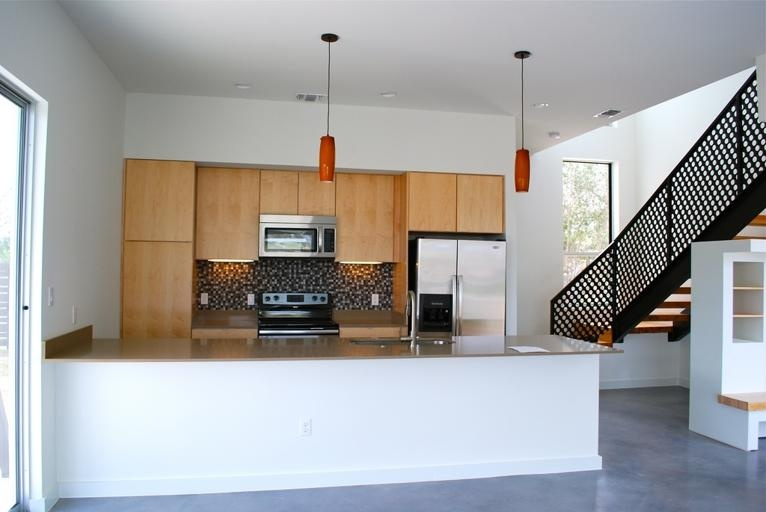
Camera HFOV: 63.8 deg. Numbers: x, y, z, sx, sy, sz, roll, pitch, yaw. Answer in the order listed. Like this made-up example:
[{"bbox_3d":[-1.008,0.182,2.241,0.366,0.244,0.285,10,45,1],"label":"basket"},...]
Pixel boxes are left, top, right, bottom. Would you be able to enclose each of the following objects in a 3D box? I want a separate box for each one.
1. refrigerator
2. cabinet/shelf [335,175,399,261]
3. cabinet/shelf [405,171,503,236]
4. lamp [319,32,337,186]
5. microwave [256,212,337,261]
[{"bbox_3d":[0.914,0.341,6.934,1.054,1.126,0.746,0,-2,-1],"label":"refrigerator"},{"bbox_3d":[-0.271,-0.498,7.764,0.743,0.983,0.528,0,6,-10],"label":"cabinet/shelf"},{"bbox_3d":[0.954,-0.672,7.488,1.209,0.691,0.359,5,9,29],"label":"cabinet/shelf"},{"bbox_3d":[-0.478,-1.318,5.310,0.190,1.143,0.186,10,15,32],"label":"lamp"},{"bbox_3d":[-0.984,-0.198,7.510,0.972,0.536,0.578,1,-5,4],"label":"microwave"}]
